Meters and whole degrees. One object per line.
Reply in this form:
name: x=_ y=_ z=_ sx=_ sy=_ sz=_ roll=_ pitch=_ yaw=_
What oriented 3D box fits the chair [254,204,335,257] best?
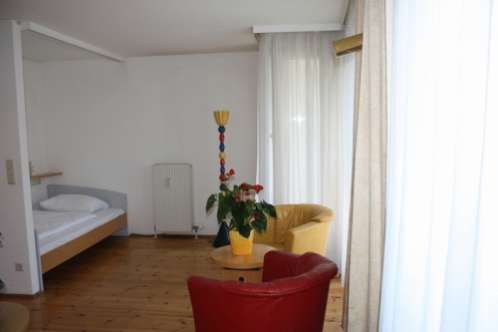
chair: x=0.531 y=0.683 z=4.083 sx=0.703 sy=0.645 sz=0.700 roll=-4 pitch=-6 yaw=34

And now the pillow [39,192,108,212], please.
pillow: x=-2.733 y=0.587 z=5.587 sx=0.555 sy=0.142 sz=0.419 roll=6 pitch=3 yaw=-8

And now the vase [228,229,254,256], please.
vase: x=-0.086 y=0.772 z=3.670 sx=0.241 sy=0.186 sz=0.223 roll=1 pitch=-2 yaw=-13

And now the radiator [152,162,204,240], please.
radiator: x=-1.112 y=0.513 z=5.774 sx=1.146 sy=1.598 sz=0.222 roll=-1 pitch=0 yaw=2

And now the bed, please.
bed: x=-2.392 y=0.828 z=5.043 sx=0.970 sy=0.570 sz=1.160 roll=0 pitch=5 yaw=7

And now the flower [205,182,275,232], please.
flower: x=-0.068 y=0.420 z=3.586 sx=0.658 sy=0.410 sz=0.666 roll=-3 pitch=10 yaw=-22
